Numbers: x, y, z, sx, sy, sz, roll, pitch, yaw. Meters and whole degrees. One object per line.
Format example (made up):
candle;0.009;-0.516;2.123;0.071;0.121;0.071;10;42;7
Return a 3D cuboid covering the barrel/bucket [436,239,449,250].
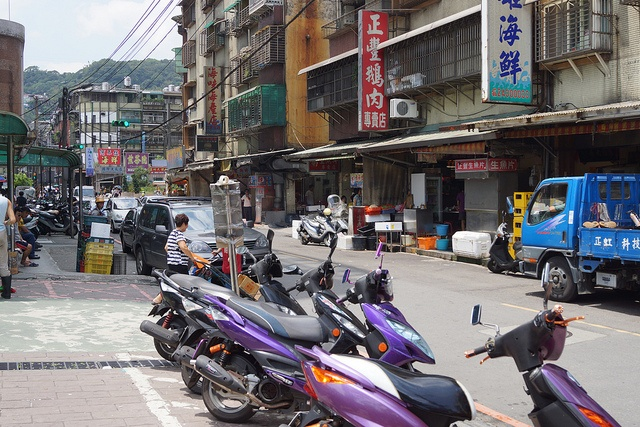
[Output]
barrel/bucket;4.267;1.114;21.044;0.417;0.388;0.403;0;0;0

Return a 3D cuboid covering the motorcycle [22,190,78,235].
motorcycle;-12.581;0.215;27.283;1.306;1.878;2.671;0;3;34

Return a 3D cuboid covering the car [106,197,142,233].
car;-9.667;0.048;29.766;1.553;1.330;2.572;0;-1;-23

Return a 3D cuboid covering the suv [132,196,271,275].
suv;-3.539;0.683;16.423;2.188;1.784;3.539;1;-2;-36

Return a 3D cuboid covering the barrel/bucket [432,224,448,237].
barrel/bucket;4.313;0.603;21.376;0.392;0.320;0.419;0;-2;0
